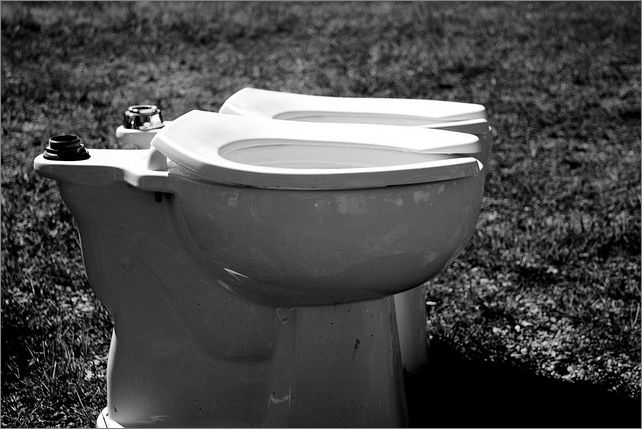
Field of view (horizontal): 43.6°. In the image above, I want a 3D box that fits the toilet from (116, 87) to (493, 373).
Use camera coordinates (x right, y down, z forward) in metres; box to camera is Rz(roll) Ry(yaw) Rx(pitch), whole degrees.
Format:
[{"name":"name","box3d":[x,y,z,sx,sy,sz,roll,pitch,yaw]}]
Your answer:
[{"name":"toilet","box3d":[0.026,-0.019,2.284,0.857,0.764,0.691,2,18,12]}]
